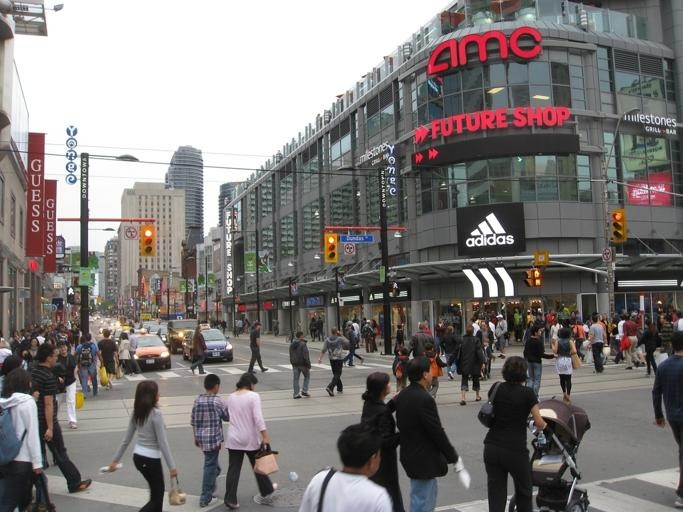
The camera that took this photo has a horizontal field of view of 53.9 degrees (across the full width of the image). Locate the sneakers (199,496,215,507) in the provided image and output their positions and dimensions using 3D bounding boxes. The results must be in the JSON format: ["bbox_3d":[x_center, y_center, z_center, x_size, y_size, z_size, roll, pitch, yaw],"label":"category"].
[{"bbox_3d":[-2.297,4.186,11.531,0.103,0.141,0.309,-1,1,41],"label":"sneakers"}]

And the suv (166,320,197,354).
[{"bbox_3d":[-9.288,4.798,40.788,2.056,2.408,4.099,1,-9,-19],"label":"suv"}]

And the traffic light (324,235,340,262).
[{"bbox_3d":[-0.511,-0.496,34.073,0.659,1.375,1.025,-3,-6,7],"label":"traffic light"}]

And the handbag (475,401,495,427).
[{"bbox_3d":[2.171,2.332,10.017,0.218,0.402,0.391,-3,-6,7],"label":"handbag"}]

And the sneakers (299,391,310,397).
[{"bbox_3d":[-1.138,4.264,20.880,0.318,0.149,0.120,7,-2,-10],"label":"sneakers"}]

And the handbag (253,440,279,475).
[{"bbox_3d":[-1.273,3.373,11.278,0.393,0.518,0.352,-1,-6,-8],"label":"handbag"}]

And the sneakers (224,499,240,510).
[{"bbox_3d":[-1.832,4.158,11.282,0.096,0.122,0.273,1,-3,25],"label":"sneakers"}]

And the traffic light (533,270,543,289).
[{"bbox_3d":[9.511,0.918,32.430,0.360,0.891,2.251,-4,-7,16],"label":"traffic light"}]

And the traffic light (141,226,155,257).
[{"bbox_3d":[-7.764,-0.674,26.856,0.532,1.164,1.328,0,-7,-19],"label":"traffic light"}]

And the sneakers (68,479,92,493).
[{"bbox_3d":[-4.764,4.158,12.201,0.130,0.179,0.395,3,4,26],"label":"sneakers"}]

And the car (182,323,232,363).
[{"bbox_3d":[-6.537,4.469,33.968,1.435,1.317,3.238,2,-12,-22],"label":"car"}]

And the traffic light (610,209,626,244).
[{"bbox_3d":[11.797,-1.357,28.425,0.531,1.414,1.126,-4,-7,19],"label":"traffic light"}]

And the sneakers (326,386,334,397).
[{"bbox_3d":[-0.376,4.177,20.936,0.143,0.437,0.187,-5,28,16],"label":"sneakers"}]

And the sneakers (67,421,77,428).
[{"bbox_3d":[-6.895,4.278,17.198,0.124,0.161,0.381,2,-11,-18],"label":"sneakers"}]
